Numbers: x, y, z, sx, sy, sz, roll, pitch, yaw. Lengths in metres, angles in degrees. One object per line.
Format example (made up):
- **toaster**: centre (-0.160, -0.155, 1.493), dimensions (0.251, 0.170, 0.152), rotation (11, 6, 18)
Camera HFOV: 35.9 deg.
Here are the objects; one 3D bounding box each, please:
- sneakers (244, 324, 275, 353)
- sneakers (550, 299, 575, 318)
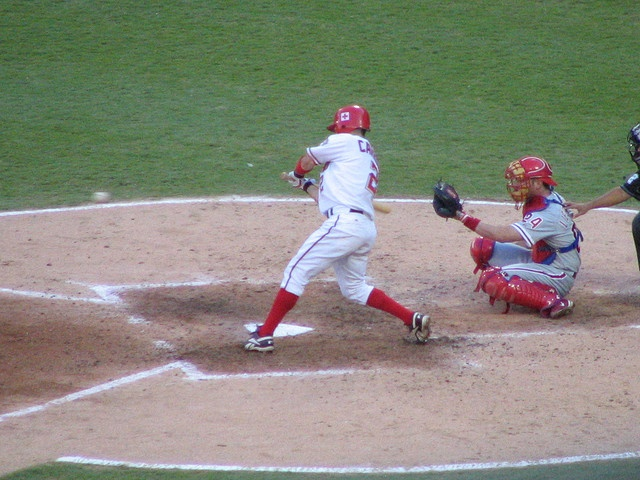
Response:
- **sneakers**: centre (-0.616, 0.985, 9.911), dimensions (0.293, 0.215, 0.287), rotation (8, 39, 9)
- **sneakers**: centre (2.558, 0.723, 10.356), dimensions (0.177, 0.203, 0.234), rotation (27, 47, 25)
